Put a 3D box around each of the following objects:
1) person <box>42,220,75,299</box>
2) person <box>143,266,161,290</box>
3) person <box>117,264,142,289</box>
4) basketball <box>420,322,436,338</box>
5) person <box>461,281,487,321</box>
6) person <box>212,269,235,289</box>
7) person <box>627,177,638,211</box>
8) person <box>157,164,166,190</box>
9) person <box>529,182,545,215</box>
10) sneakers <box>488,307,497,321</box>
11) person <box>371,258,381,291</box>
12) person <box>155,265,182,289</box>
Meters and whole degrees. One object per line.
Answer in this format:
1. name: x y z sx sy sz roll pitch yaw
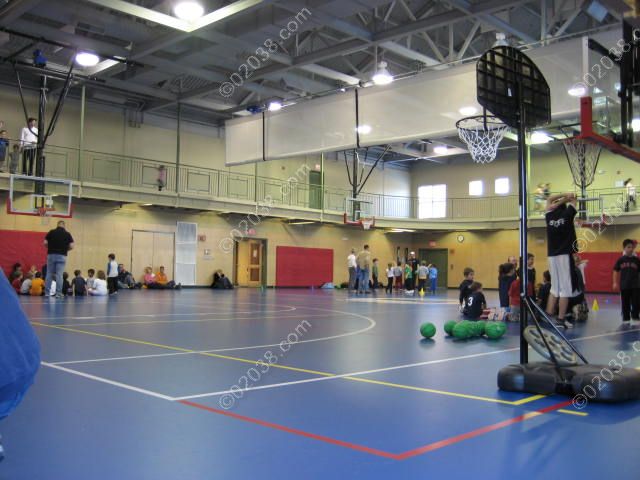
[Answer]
1. person: -6.576 0.447 13.000 0.586 1.929 0.600 5 -6 -10
2. person: -7.021 1.579 21.505 0.561 0.849 0.757 2 -2 -35
3. person: -7.725 1.473 20.816 0.526 0.963 1.198 0 -2 8
4. basketball: 1.443 1.191 6.879 0.179 0.203 0.186 -3 1 -14
5. person: 2.941 1.131 9.668 0.574 0.786 0.651 2 -2 28
6. person: -4.484 1.853 23.418 1.037 1.165 0.610 -18 -18 31
7. person: 14.591 -2.109 24.125 0.425 1.543 0.628 0 -2 33
8. person: -6.420 -2.530 21.039 0.336 1.188 1.082 1 -2 -17
9. person: 11.350 -2.147 26.812 0.577 1.565 1.402 0 -2 17
10. sneakers: 3.247 1.405 9.730 0.140 0.211 0.497 -5 -11 27
11. person: 2.867 1.789 26.708 0.333 0.496 1.580 -12 -37 -4
12. person: -6.530 1.687 22.008 1.164 0.992 0.603 -2 -1 31
